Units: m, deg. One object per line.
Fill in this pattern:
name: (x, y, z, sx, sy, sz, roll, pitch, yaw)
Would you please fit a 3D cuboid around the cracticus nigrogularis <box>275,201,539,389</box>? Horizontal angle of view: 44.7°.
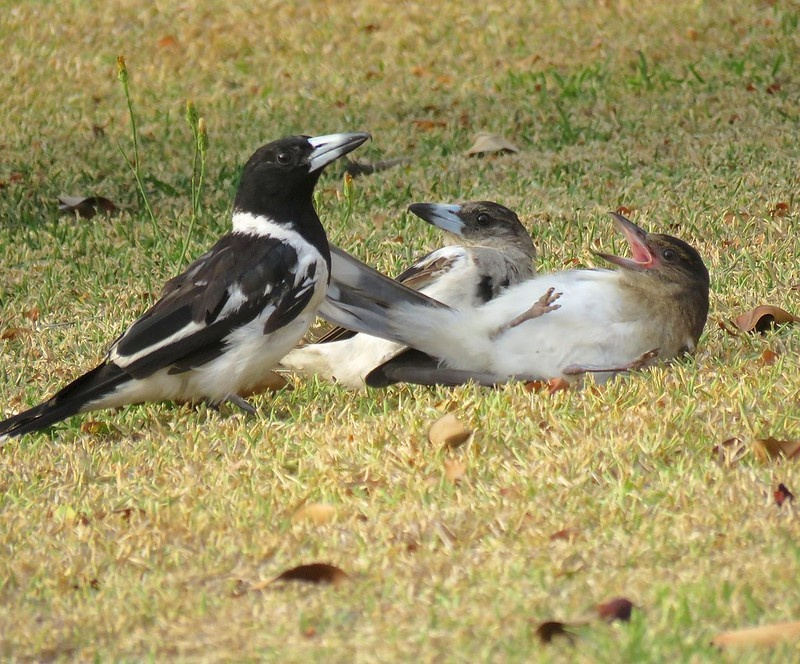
cracticus nigrogularis: (0.043, -0.164, 4.834, 1.218, 0.427, 0.643, -33, 56, -10)
